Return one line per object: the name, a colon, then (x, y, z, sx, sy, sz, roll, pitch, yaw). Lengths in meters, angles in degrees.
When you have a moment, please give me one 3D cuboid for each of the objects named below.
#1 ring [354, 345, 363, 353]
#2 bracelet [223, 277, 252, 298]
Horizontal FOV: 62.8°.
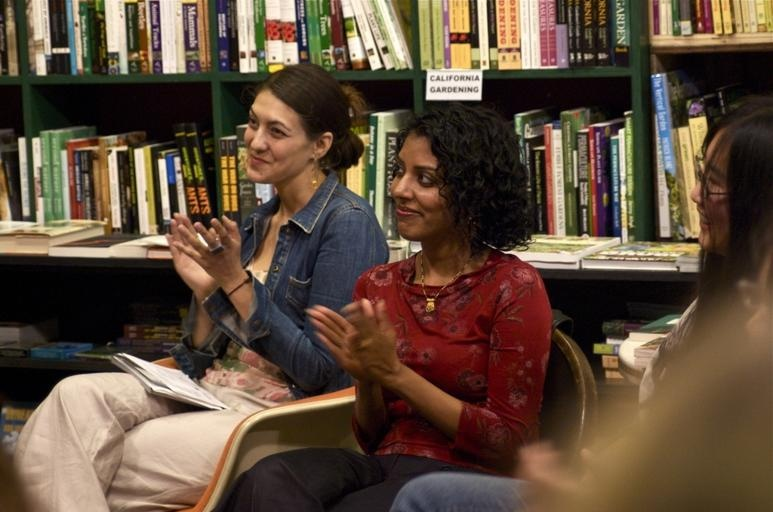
ring: (-0.053, 0.170, 1.174, 0.013, 0.012, 0.003, 10, 5, 9)
bracelet: (-0.379, 0.076, 1.587, 0.051, 0.014, 0.051, -28, 10, 18)
